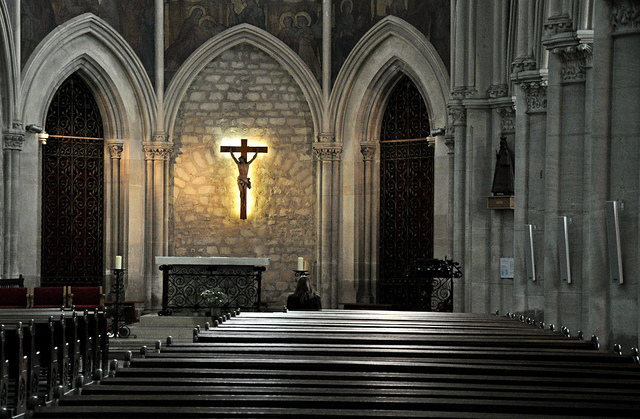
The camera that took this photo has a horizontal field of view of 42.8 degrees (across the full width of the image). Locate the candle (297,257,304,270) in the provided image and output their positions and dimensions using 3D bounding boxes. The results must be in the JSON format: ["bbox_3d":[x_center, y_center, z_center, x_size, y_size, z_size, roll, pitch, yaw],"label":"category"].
[{"bbox_3d":[-0.437,1.279,19.048,0.088,0.264,0.222,0,-5,-2],"label":"candle"}]

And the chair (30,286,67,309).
[{"bbox_3d":[-5.938,1.952,17.958,0.987,0.546,0.699,2,-3,-18],"label":"chair"}]

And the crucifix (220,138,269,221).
[{"bbox_3d":[-2.006,-0.811,21.669,1.200,2.120,0.433,0,-5,-3],"label":"crucifix"}]

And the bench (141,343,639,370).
[{"bbox_3d":[0.811,1.530,8.377,4.864,0.197,0.481,-1,-5,4],"label":"bench"}]

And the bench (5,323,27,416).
[{"bbox_3d":[-3.431,1.800,9.254,0.251,1.014,0.586,1,-5,-20],"label":"bench"}]

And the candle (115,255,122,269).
[{"bbox_3d":[-4.202,1.123,17.142,0.095,0.270,0.557,1,-5,-17],"label":"candle"}]

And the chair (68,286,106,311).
[{"bbox_3d":[-5.075,1.958,17.812,0.831,0.559,0.470,2,-14,-8],"label":"chair"}]

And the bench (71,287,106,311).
[{"bbox_3d":[-5.055,1.964,17.835,0.771,0.585,0.409,1,-11,-10],"label":"bench"}]
